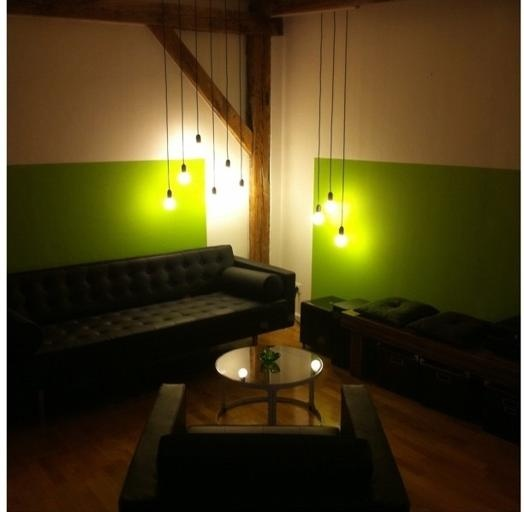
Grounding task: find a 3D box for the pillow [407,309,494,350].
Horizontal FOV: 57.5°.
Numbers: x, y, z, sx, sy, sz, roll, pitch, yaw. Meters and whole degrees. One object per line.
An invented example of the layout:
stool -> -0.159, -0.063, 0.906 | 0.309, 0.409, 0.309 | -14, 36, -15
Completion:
pillow -> 1.507, 0.559, 3.747 | 0.285, 0.107, 0.314 | -17, 20, -35
